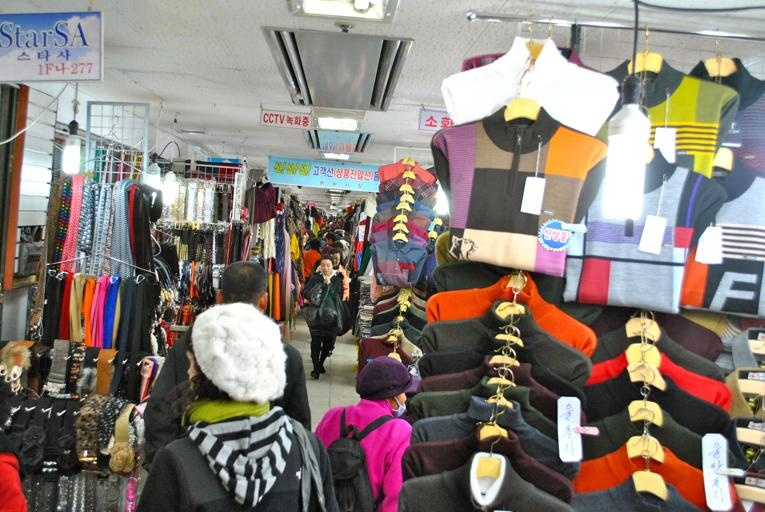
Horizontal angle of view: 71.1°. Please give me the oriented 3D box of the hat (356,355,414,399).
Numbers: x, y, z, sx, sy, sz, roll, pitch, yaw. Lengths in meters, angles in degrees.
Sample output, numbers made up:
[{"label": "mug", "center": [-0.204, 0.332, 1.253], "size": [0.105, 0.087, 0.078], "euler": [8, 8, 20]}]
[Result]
[{"label": "hat", "center": [0.026, 0.742, 3.169], "size": [0.277, 0.140, 0.223], "euler": [-18, 28, -33]}]

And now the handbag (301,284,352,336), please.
[{"label": "handbag", "center": [-0.729, 0.766, 7.186], "size": [0.654, 0.665, 0.272], "euler": [9, -24, -12]}]
